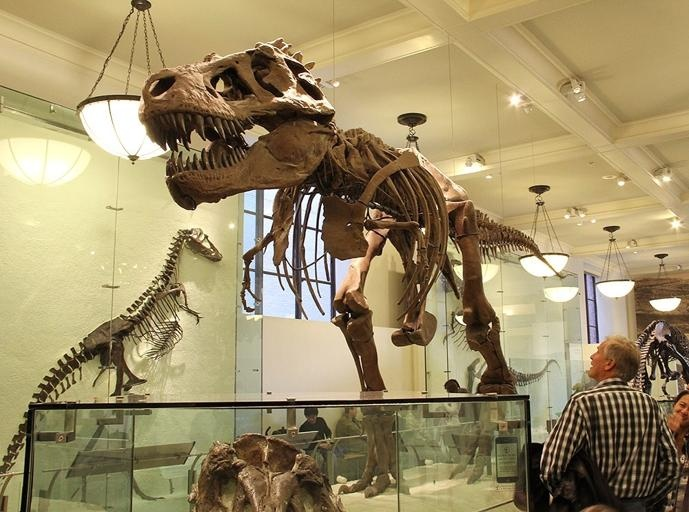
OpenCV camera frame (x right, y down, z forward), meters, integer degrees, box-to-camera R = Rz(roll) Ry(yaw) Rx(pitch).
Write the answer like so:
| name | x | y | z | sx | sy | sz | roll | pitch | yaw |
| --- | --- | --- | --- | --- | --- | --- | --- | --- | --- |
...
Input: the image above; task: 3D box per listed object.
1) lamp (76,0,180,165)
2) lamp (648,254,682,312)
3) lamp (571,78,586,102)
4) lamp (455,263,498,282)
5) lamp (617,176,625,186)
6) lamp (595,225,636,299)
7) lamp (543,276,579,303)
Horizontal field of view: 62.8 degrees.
| name | x | y | z | sx | sy | sz | roll | pitch | yaw |
| --- | --- | --- | --- | --- | --- | --- | --- | --- | --- |
| lamp | -1.821 | -1.424 | 4.669 | 0.665 | 1.442 | 1.026 | 2 | -14 | -19 |
| lamp | 5.572 | 0.479 | 9.916 | 0.497 | 0.950 | 0.814 | -10 | -15 | 29 |
| lamp | 2.346 | -1.679 | 5.680 | 0.144 | 0.201 | 0.208 | -1 | 2 | 24 |
| lamp | 1.943 | 0.207 | 8.019 | 0.507 | 0.222 | 0.525 | -4 | -11 | 32 |
| lamp | 3.773 | -1.032 | 7.718 | 0.097 | 0.093 | 0.173 | -3 | -8 | 17 |
| lamp | 4.640 | 0.139 | 9.717 | 0.636 | 1.323 | 0.632 | -10 | 13 | 2 |
| lamp | 3.403 | 0.509 | 8.953 | 0.496 | 0.317 | 0.480 | 4 | -8 | -43 |
